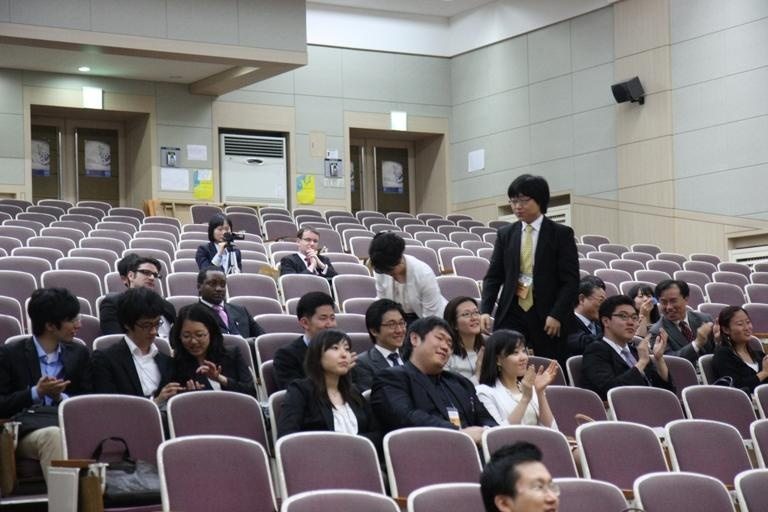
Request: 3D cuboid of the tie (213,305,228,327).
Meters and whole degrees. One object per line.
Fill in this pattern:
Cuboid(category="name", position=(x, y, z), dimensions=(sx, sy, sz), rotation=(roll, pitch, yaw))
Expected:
Cuboid(category="tie", position=(-1.275, 0.459, 5.018), dimensions=(0.037, 0.174, 0.101), rotation=(-19, -10, 38))

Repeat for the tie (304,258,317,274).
Cuboid(category="tie", position=(-0.758, 0.099, 6.684), dimensions=(0.039, 0.139, 0.128), rotation=(9, -17, -35))

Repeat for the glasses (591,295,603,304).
Cuboid(category="glasses", position=(1.792, 0.362, 5.339), dimensions=(0.069, 0.025, 0.074), rotation=(3, -33, -14))

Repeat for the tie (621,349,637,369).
Cuboid(category="tie", position=(1.781, 0.741, 4.628), dimensions=(0.081, 0.147, 0.032), rotation=(-25, 11, -40))

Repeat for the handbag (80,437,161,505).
Cuboid(category="handbag", position=(-1.241, 1.058, 3.107), dimensions=(0.325, 0.337, 0.345), rotation=(-1, -8, -3))

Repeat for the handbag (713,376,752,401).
Cuboid(category="handbag", position=(2.578, 0.992, 4.735), dimensions=(0.235, 0.253, 0.179), rotation=(-4, -6, 8))

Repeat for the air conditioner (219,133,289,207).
Cuboid(category="air conditioner", position=(-2.549, -1.628, 12.353), dimensions=(1.316, 1.619, 0.584), rotation=(4, -11, -27))

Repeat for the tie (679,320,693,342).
Cuboid(category="tie", position=(2.600, 0.649, 5.517), dimensions=(0.040, 0.158, 0.052), rotation=(-25, -19, -8))

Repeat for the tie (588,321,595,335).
Cuboid(category="tie", position=(1.722, 0.596, 5.306), dimensions=(0.056, 0.104, 0.055), rotation=(-13, -2, -29))

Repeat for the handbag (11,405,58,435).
Cuboid(category="handbag", position=(-1.831, 0.856, 3.385), dimensions=(0.173, 0.128, 0.065), rotation=(-5, -50, -24))
